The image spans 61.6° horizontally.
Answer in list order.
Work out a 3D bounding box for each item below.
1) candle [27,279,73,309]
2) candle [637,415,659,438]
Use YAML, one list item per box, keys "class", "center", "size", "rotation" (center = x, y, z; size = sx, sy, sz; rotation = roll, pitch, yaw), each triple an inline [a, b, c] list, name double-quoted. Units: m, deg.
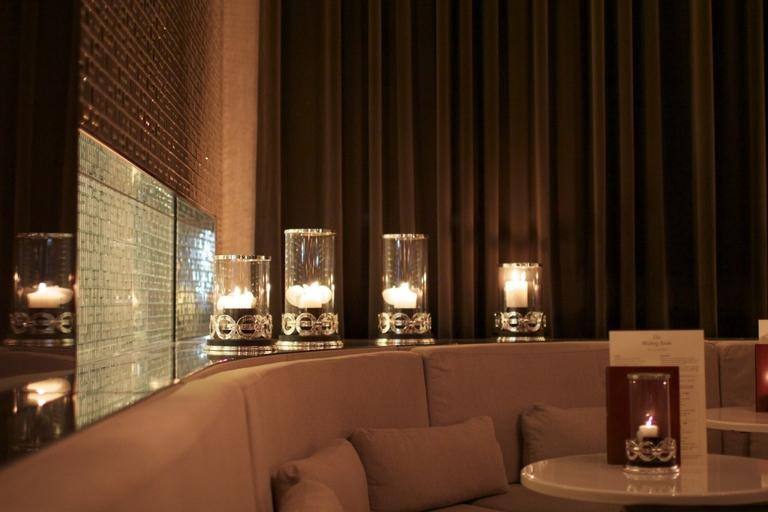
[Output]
- class: "candle"
  center: [-0.574, 0.066, 1.098]
  size: [0.046, 0.039, 0.074]
  rotation: [-1, -4, -1]
- class: "candle"
  center: [0.629, 0.407, 1.523]
  size: [0.045, 0.055, 0.047]
  rotation: [0, -9, 5]
